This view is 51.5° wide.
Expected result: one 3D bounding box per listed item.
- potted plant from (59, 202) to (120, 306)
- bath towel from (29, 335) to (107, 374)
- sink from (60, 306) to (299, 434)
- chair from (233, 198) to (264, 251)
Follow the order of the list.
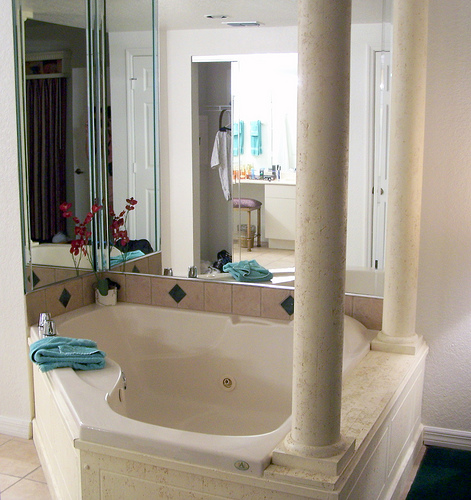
[{"bbox_3d":[-0.846,0.009,2.855,0.271,0.615,0.185,-20,20,-35],"label":"potted plant"},{"bbox_3d":[-0.716,0.430,2.031,0.399,0.085,0.234,6,9,22],"label":"bath towel"},{"bbox_3d":[-0.264,0.587,2.503,1.137,0.467,0.398,5,8,17],"label":"sink"},{"bbox_3d":[0.090,-0.151,2.716,0.178,0.378,0.202,2,7,17],"label":"chair"}]
